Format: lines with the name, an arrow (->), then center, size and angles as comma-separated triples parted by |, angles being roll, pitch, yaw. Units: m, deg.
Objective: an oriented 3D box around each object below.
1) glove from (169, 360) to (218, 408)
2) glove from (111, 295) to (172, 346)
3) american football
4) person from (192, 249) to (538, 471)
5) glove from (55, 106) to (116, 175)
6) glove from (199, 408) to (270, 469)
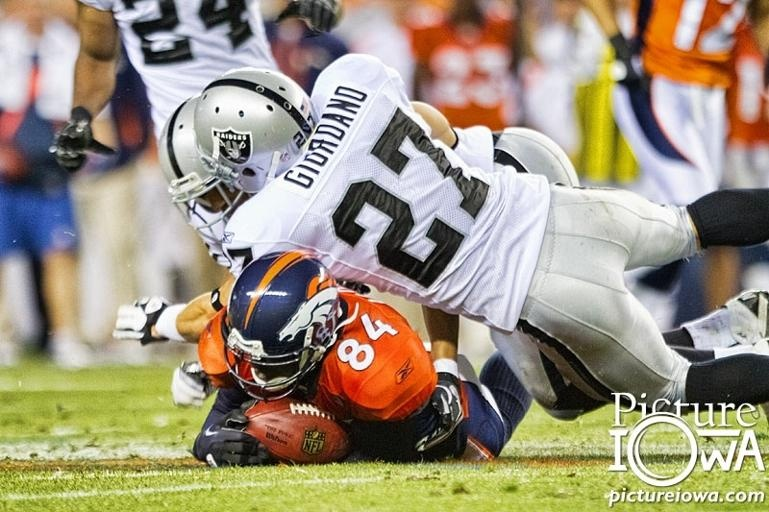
glove -> -1.007, 0.675, 5.404 | 0.136, 0.183, 0.251 | 37, 40, 16
glove -> -1.425, 0.397, 6.043 | 0.311, 0.245, 0.143 | 5, -29, 1
american football -> -0.426, 0.863, 5.092 | 0.453, 0.275, 0.267 | 18, 14, -7
person -> -0.151, 0.599, 5.225 | 1.352, 0.603, 0.981 | 13, -32, -40
glove -> -1.839, -0.697, 6.325 | 0.351, 0.396, 0.295 | -2, 10, -10
glove -> -0.754, 0.932, 5.103 | 0.324, 0.129, 0.247 | 23, -25, -8
